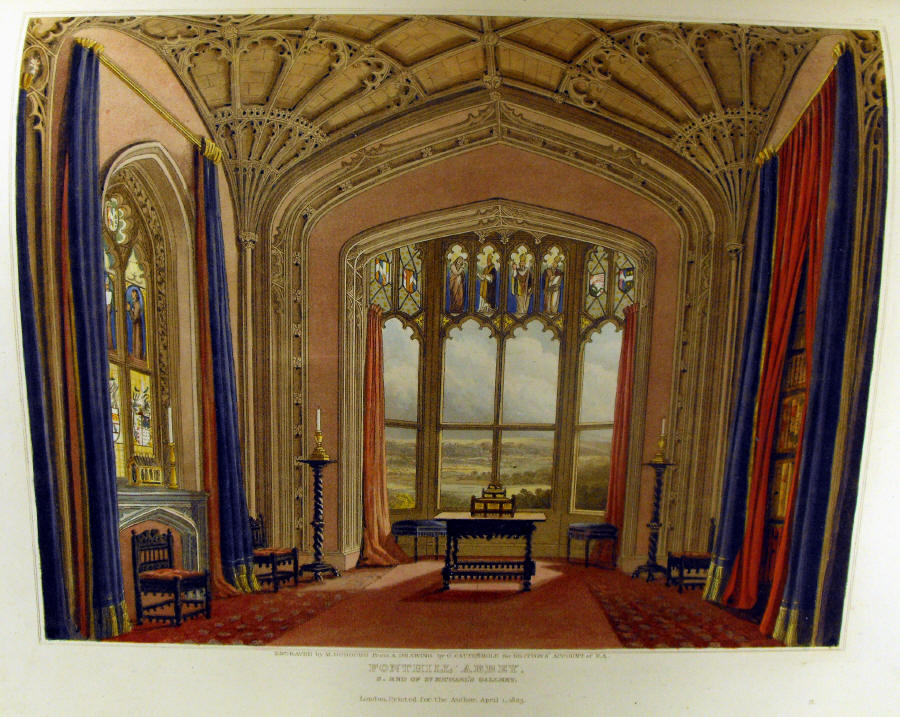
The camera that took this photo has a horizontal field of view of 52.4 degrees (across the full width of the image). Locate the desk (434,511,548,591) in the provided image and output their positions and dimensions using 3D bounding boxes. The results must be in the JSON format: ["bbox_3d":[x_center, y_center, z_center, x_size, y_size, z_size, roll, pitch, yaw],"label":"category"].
[{"bbox_3d":[0.334,1.671,8.014,0.925,0.586,0.799,0,-3,-4],"label":"desk"}]

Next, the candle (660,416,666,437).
[{"bbox_3d":[1.835,0.589,7.846,0.039,0.158,0.180,-1,-2,17],"label":"candle"}]

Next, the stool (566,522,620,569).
[{"bbox_3d":[1.392,1.775,8.808,0.452,0.397,0.455,4,-9,-11],"label":"stool"}]

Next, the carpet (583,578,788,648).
[{"bbox_3d":[1.624,1.923,6.893,0.992,0.195,1.732,0,-3,-7],"label":"carpet"}]

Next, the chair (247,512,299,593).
[{"bbox_3d":[-1.466,1.574,7.478,0.340,0.542,0.339,-5,-2,33],"label":"chair"}]
